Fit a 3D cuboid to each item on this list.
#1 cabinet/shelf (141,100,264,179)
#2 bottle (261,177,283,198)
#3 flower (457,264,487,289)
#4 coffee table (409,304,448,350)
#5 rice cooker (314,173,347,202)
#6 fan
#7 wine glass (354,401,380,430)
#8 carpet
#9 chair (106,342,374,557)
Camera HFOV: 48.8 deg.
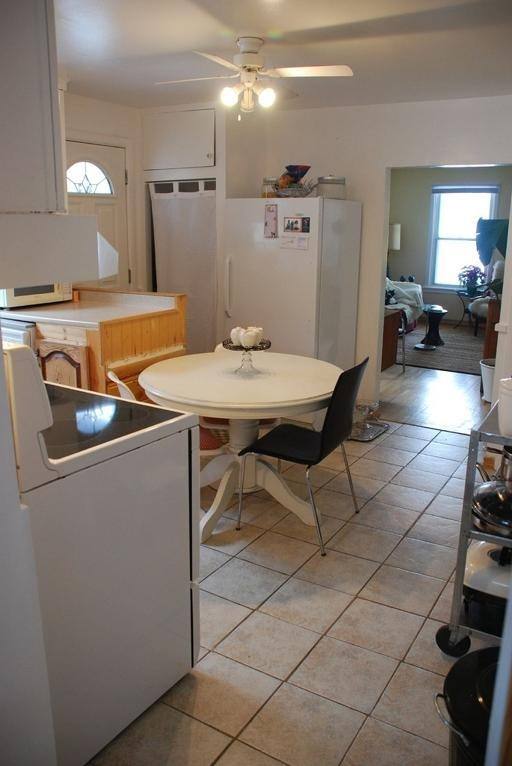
[{"bbox_3d":[-0.515,-1.992,4.787,0.841,0.534,0.499,6,4,21],"label":"cabinet/shelf"},{"bbox_3d":[0.117,-1.534,4.473,0.145,0.212,0.196,1,5,9],"label":"bottle"},{"bbox_3d":[3.232,-1.600,8.478,0.382,0.300,0.391,-15,7,18],"label":"flower"},{"bbox_3d":[2.360,-0.788,7.743,0.570,0.659,0.552,6,12,35],"label":"coffee table"},{"bbox_3d":[0.570,-1.489,4.303,0.248,0.187,0.256,-1,12,-11],"label":"rice cooker"},{"bbox_3d":[-0.007,-1.837,3.334,0.792,0.310,0.824,1,8,5],"label":"fan"},{"bbox_3d":[0.881,0.260,4.484,0.214,0.246,0.214,-3,9,-19],"label":"wine glass"},{"bbox_3d":[2.353,-0.397,7.194,0.916,0.016,1.058,9,24,29],"label":"carpet"},{"bbox_3d":[-0.063,0.273,3.018,1.058,0.857,1.155,-4,14,-17],"label":"chair"}]
